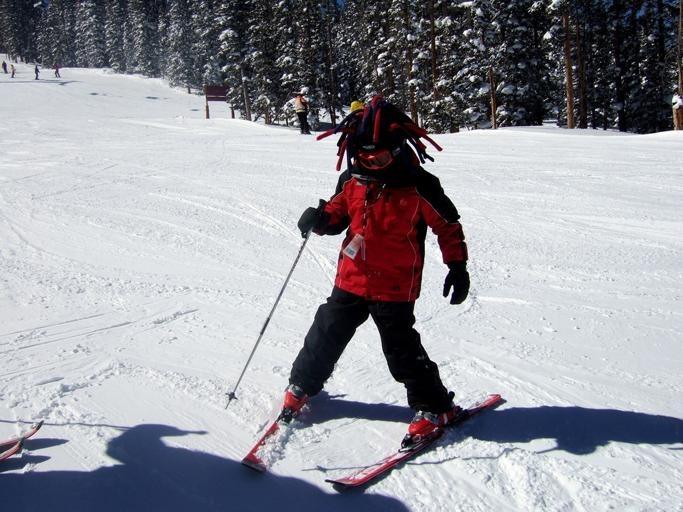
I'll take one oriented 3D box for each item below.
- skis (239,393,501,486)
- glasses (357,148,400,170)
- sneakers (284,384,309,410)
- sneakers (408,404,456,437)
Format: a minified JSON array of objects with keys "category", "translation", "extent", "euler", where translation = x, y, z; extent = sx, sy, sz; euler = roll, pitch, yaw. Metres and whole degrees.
[{"category":"skis","translation":[0.209,1.331,3.989],"extent":[1.554,0.186,0.191],"euler":[-15,11,-27]},{"category":"glasses","translation":[0.239,-0.665,3.872],"extent":[0.169,0.083,0.193],"euler":[5,41,26]},{"category":"sneakers","translation":[-0.344,1.058,4.199],"extent":[0.157,0.202,0.106],"euler":[19,26,6]},{"category":"sneakers","translation":[0.643,1.181,4.126],"extent":[0.454,0.181,0.131],"euler":[-11,10,-21]}]
